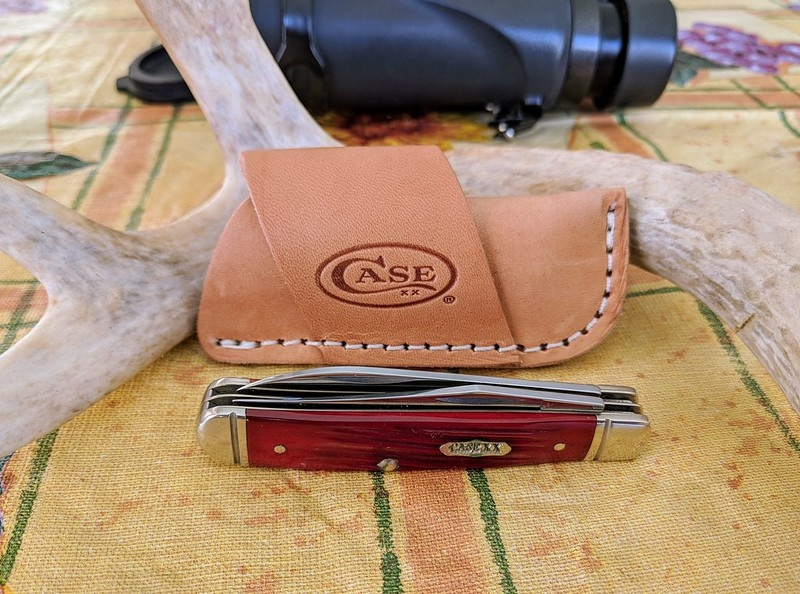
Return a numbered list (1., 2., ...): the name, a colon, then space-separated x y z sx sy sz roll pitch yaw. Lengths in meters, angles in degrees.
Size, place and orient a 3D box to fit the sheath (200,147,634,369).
1. sheath: 0.010 -0.027 0.703 0.492 0.122 0.166 0 63 1
